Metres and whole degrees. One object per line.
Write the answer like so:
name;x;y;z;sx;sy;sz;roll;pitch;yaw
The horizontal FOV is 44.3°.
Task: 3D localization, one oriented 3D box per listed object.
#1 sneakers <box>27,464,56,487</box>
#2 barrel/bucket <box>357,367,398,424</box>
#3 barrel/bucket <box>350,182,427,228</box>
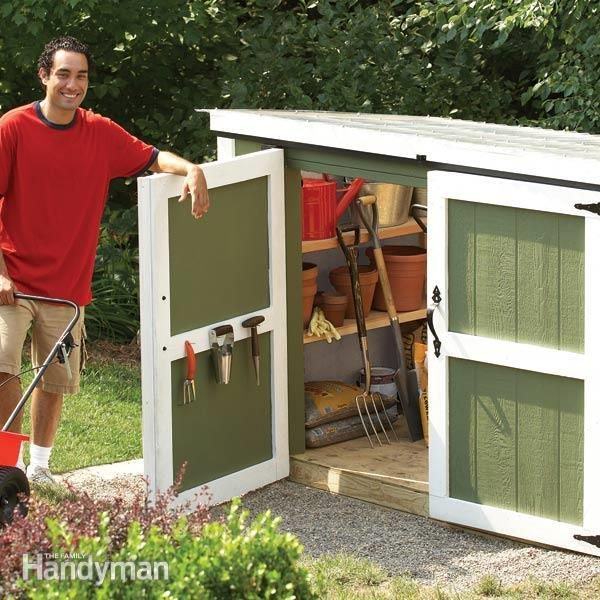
sneakers;-1.320;0.907;3.790;0.147;0.101;0.087;4;6;19
barrel/bucket;0.563;0.611;4.919;0.292;0.426;0.365;1;-4;-20
barrel/bucket;0.601;-0.613;4.806;0.323;0.220;0.317;-1;6;0
